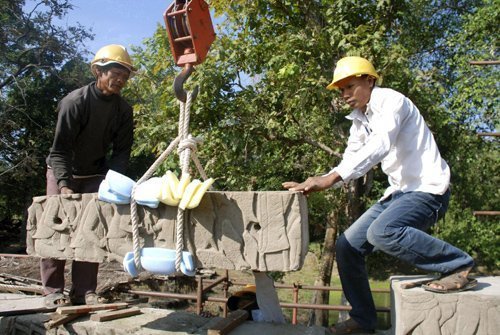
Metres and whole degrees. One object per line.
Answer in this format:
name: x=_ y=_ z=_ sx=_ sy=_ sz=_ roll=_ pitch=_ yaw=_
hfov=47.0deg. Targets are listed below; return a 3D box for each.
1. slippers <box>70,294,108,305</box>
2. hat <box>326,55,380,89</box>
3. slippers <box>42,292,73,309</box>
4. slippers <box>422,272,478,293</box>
slippers: x=-2.698 y=2.192 z=9.638 sx=0.557 sy=0.169 sz=0.220 roll=-2 pitch=-9 yaw=5
hat: x=1.623 y=-1.497 z=9.116 sx=0.613 sy=0.348 sz=0.513 roll=-2 pitch=-10 yaw=-4
slippers: x=-3.182 y=2.204 z=9.525 sx=0.465 sy=0.254 sz=0.215 roll=-3 pitch=-12 yaw=22
slippers: x=2.952 y=1.724 z=8.541 sx=0.797 sy=0.265 sz=0.313 roll=-4 pitch=-12 yaw=-14
